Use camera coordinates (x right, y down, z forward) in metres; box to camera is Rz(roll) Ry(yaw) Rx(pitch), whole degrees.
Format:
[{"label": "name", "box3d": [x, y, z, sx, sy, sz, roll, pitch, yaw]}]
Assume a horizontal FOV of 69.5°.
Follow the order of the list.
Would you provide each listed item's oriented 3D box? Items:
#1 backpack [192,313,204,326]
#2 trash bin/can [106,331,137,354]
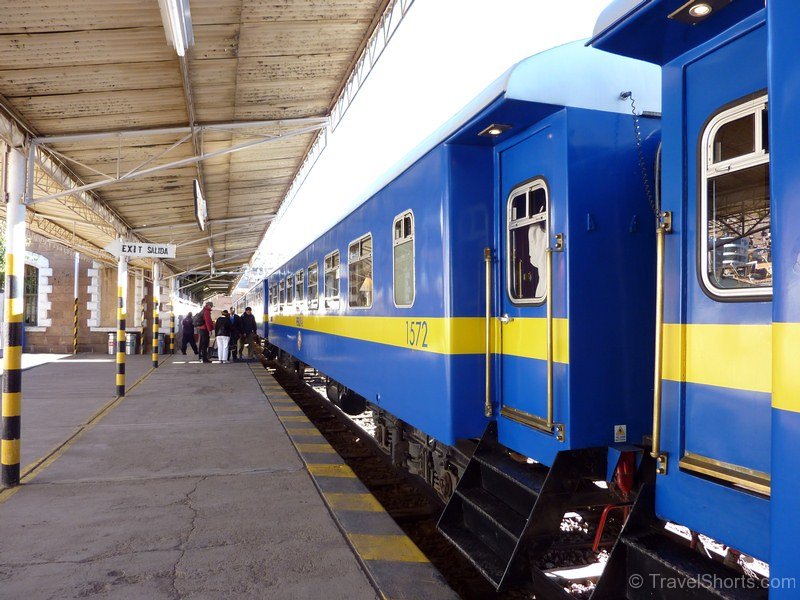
[{"label": "backpack", "box3d": [-7.275, 0.738, 20.972, 0.444, 0.477, 0.797, 4, 7, -10]}, {"label": "trash bin/can", "box3d": [-10.839, 1.695, 22.756, 0.837, 0.977, 0.920, -1, -6, 0]}]
